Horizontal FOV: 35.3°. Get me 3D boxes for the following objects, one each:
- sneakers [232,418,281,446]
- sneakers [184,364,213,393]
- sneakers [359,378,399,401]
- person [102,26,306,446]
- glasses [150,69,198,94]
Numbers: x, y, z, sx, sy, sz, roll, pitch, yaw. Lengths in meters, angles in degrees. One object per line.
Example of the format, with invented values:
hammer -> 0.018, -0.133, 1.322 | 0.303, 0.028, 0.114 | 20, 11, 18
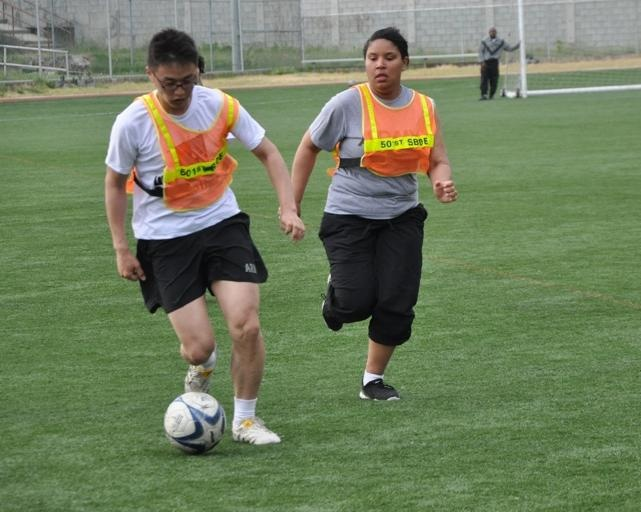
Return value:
sneakers -> -0.345, 0.954, 5.471 | 0.244, 0.100, 0.124 | -1, 3, 35
sneakers -> -0.686, 0.712, 5.883 | 0.271, 0.088, 0.118 | -7, 9, -35
sneakers -> 0.345, 0.784, 5.908 | 0.204, 0.079, 0.112 | 0, 1, 32
person -> -0.610, -0.129, 5.608 | 1.014, 2.222, 0.572 | 4, 12, 19
glasses -> -0.771, -0.926, 5.366 | 0.243, 0.095, 0.148 | -2, 11, -9
